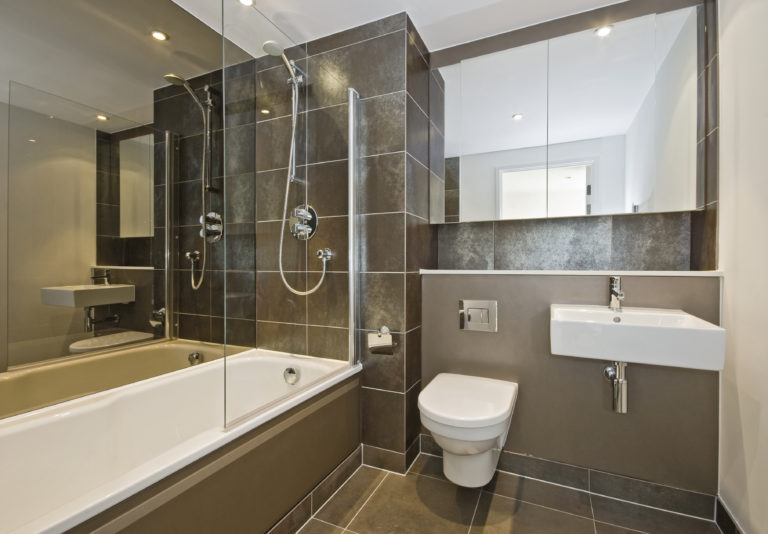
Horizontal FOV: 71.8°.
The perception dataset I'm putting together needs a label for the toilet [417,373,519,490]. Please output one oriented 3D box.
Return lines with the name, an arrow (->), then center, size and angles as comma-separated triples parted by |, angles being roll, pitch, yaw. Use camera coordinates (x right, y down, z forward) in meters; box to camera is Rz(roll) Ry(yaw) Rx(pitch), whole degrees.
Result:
toilet -> 0.549, 1.019, 3.446 | 0.578, 0.530, 0.665 | 2, 7, 22
